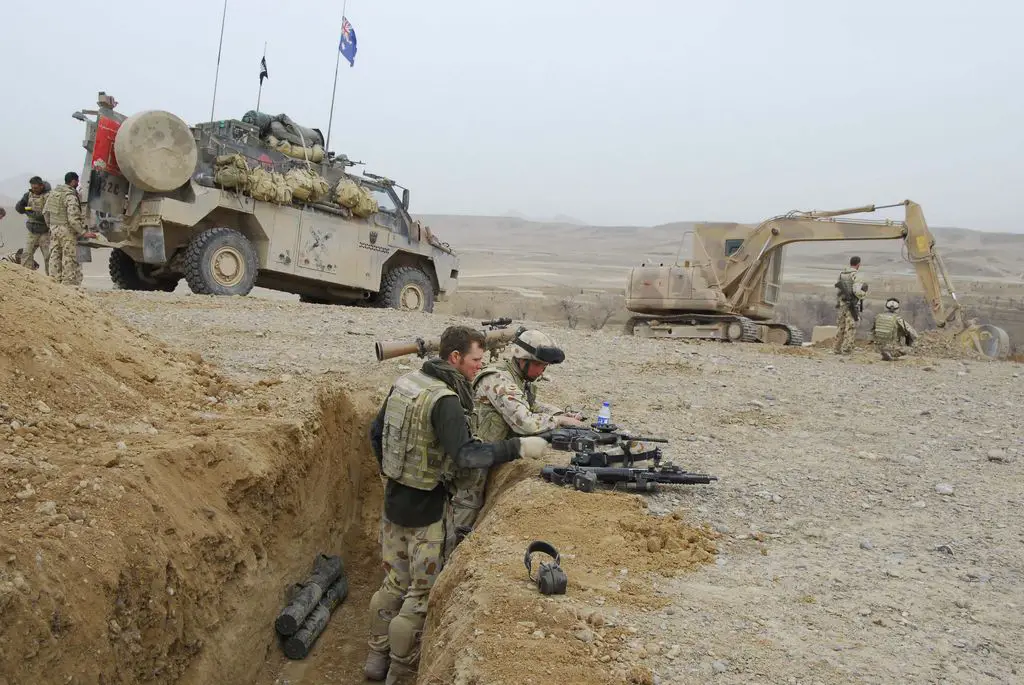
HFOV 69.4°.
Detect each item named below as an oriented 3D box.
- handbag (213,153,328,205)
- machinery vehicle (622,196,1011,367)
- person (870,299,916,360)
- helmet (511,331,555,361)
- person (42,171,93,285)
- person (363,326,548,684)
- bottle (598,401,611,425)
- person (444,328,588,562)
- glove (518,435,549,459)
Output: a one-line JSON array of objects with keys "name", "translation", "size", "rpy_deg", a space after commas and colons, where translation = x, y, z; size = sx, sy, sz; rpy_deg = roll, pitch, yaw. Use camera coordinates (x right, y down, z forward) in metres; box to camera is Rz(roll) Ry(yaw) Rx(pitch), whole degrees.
[{"name": "handbag", "translation": [-4.270, -2.931, 13.204], "size": [0.488, 0.803, 1.972], "rpy_deg": [7, 9, 42]}, {"name": "machinery vehicle", "translation": [6.557, -1.471, 16.762], "size": [7.800, 3.375, 2.660], "rpy_deg": [5, 9, 32]}, {"name": "person", "translation": [8.364, -0.363, 16.262], "size": [0.963, 1.275, 0.899], "rpy_deg": [-6, 13, -33]}, {"name": "helmet", "translation": [0.187, 0.004, 6.311], "size": [0.302, 0.161, 0.223], "rpy_deg": [22, 10, -30]}, {"name": "person", "translation": [-7.281, -1.872, 12.096], "size": [0.558, 1.812, 1.181], "rpy_deg": [-4, 8, -32]}, {"name": "person", "translation": [-0.667, 1.449, 6.151], "size": [1.234, 3.188, 0.807], "rpy_deg": [0, 7, -4]}, {"name": "bottle", "translation": [0.829, 0.602, 6.585], "size": [0.116, 0.252, 0.461], "rpy_deg": [2, 7, 7]}, {"name": "person", "translation": [0.028, 0.883, 6.714], "size": [1.164, 1.956, 0.834], "rpy_deg": [7, 18, 4]}, {"name": "glove", "translation": [0.172, 0.856, 6.174], "size": [0.203, 0.142, 0.355], "rpy_deg": [0, 4, 1]}]
